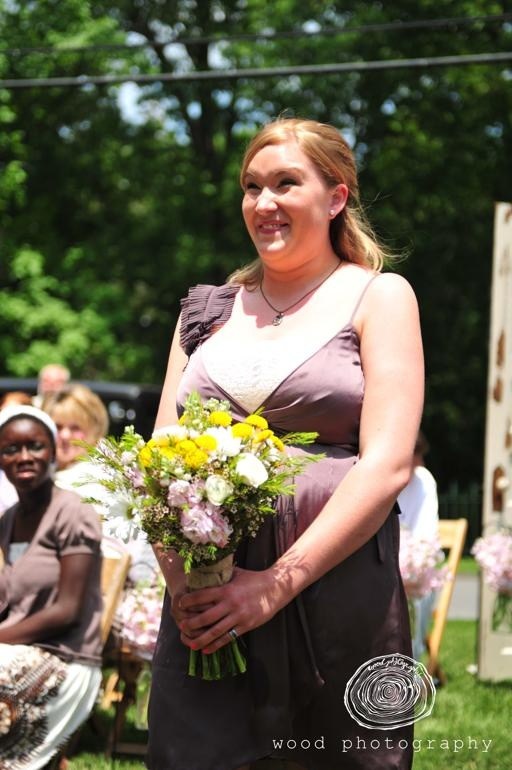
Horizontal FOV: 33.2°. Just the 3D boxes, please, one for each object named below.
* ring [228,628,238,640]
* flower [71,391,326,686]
[{"bbox_3d":[-0.054,0.582,2.006,0.028,0.024,0.007,30,30,35],"label":"ring"},{"bbox_3d":[-0.014,0.352,2.260,0.796,0.683,0.681,-4,-7,-6],"label":"flower"}]
